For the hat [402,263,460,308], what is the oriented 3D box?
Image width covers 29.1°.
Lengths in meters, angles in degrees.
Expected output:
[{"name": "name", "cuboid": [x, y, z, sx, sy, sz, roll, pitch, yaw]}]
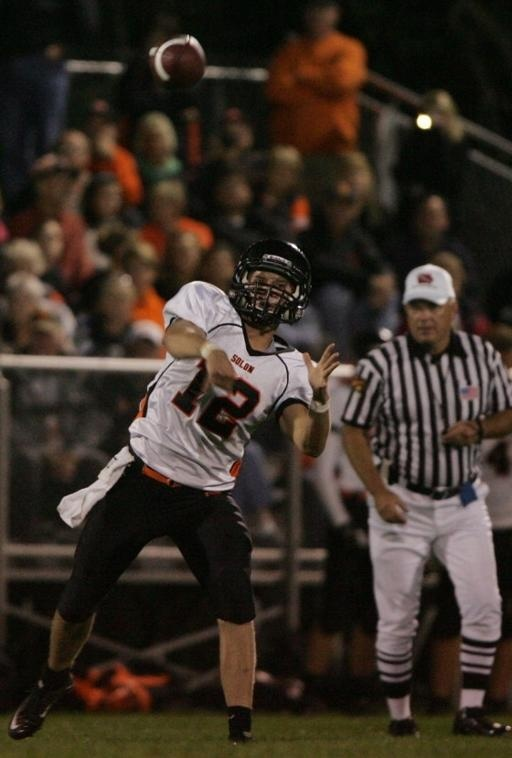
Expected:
[{"name": "hat", "cuboid": [0.639, -0.349, 3.705, 0.156, 0.101, 0.208, 0, -2, 17]}]

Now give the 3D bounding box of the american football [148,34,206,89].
[{"name": "american football", "cuboid": [-0.354, -1.628, 5.111, 0.285, 0.274, 0.166, 24, 69, 26]}]

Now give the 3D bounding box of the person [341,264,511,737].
[{"name": "person", "cuboid": [0.639, 0.399, 3.581, 0.636, 1.512, 0.985, -1, 21, 4]}]

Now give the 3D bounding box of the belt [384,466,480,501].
[{"name": "belt", "cuboid": [0.627, 0.384, 3.598, 0.332, 0.107, 0.079, 3, 21, 16]}]

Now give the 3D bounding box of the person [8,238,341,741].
[{"name": "person", "cuboid": [-0.240, 0.374, 3.227, 1.035, 1.553, 0.968, 1, 21, 10]}]
